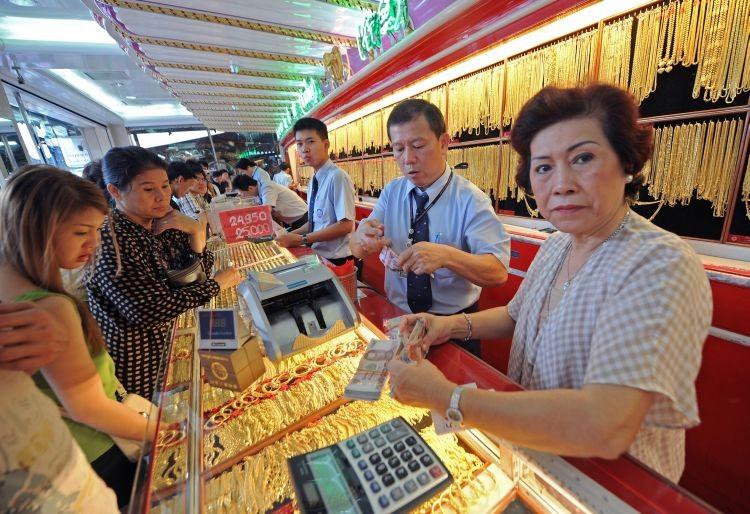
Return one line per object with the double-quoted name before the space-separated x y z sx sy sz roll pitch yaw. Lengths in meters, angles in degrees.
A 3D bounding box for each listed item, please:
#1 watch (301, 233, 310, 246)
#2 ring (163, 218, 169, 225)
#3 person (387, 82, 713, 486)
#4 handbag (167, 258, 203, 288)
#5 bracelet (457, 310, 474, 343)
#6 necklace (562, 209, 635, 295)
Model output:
"watch" -0.595 -0.150 3.884 0.066 0.089 0.096 -10 60 -2
"ring" -1.403 -0.234 2.969 0.029 0.029 0.009 4 3 15
"person" 0.777 0.017 1.876 1.115 1.420 0.745 -11 17 -16
"handbag" -1.214 0.112 2.863 0.144 0.069 0.195 -15 14 29
"bracelet" 0.490 0.371 2.331 0.064 0.139 0.104 7 31 -5
"necklace" 1.031 -0.019 2.113 0.413 0.097 0.228 -51 37 -9
